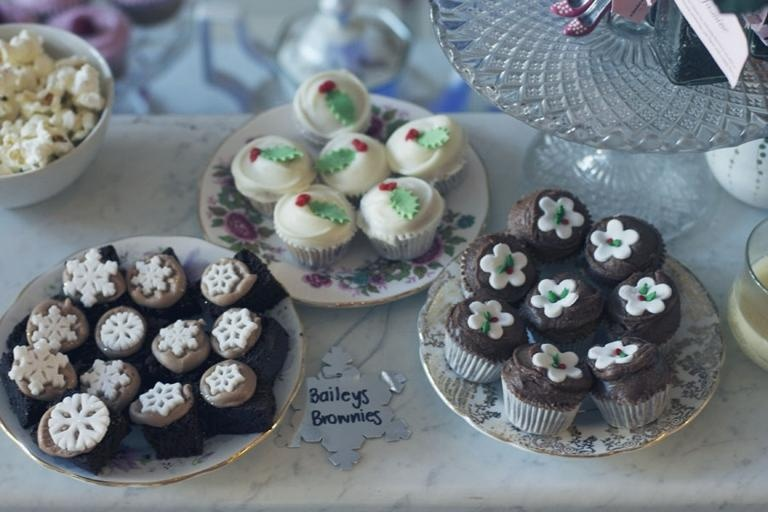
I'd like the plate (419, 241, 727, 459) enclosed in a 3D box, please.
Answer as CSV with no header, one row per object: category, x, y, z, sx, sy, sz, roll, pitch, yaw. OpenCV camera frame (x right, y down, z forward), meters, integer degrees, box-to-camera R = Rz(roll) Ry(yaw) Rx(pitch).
plate,0.403,0.218,1.905,0.641,0.084,0.414,-7,54,1

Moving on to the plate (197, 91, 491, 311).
plate,-0.099,-0.114,1.979,0.545,0.127,0.533,5,58,0
